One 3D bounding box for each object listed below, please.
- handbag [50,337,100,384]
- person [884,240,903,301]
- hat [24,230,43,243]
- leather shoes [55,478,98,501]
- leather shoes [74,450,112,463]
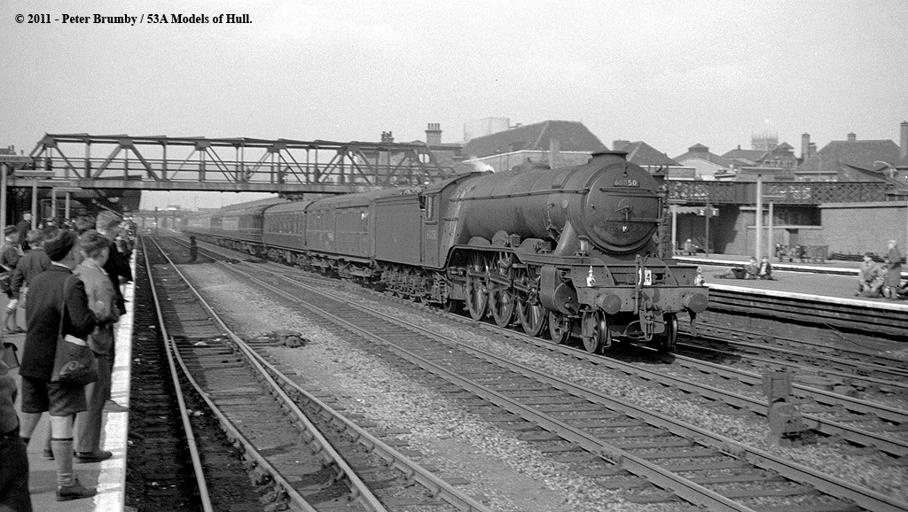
[{"bbox_3d":[-5.510,1.519,10.794,0.577,0.712,0.260,-7,13,-29],"label":"handbag"},{"bbox_3d":[14.339,0.430,24.292,0.559,1.816,1.115,5,13,30],"label":"person"},{"bbox_3d":[-9.882,-0.456,17.688,0.351,0.242,0.435,1,0,-4],"label":"hat"},{"bbox_3d":[-5.392,3.362,10.797,0.609,0.279,0.245,-1,4,-19],"label":"leather shoes"},{"bbox_3d":[-5.530,3.092,11.529,0.549,0.225,0.183,-1,5,-21],"label":"leather shoes"}]
